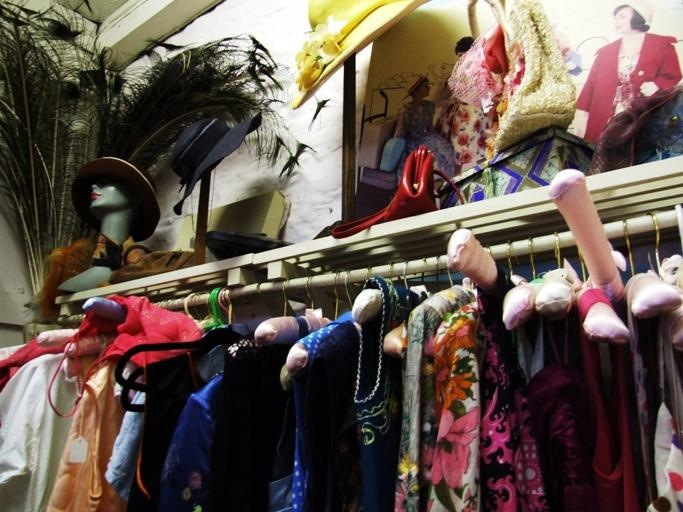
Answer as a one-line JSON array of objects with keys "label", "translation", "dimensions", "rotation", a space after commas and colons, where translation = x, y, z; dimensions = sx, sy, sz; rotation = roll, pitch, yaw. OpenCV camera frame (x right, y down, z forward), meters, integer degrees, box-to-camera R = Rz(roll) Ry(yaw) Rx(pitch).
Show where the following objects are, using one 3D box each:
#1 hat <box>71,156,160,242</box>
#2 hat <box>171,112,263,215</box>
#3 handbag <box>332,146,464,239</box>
[{"label": "hat", "translation": [-0.763, -0.228, 2.019], "dimensions": [0.252, 0.120, 0.331], "rotation": [16, -44, 12]}, {"label": "hat", "translation": [-0.375, -0.270, 1.662], "dimensions": [0.285, 0.296, 0.165], "rotation": [-10, -14, 16]}, {"label": "handbag", "translation": [0.134, -0.109, 1.345], "dimensions": [0.257, 0.165, 0.195], "rotation": [-12, 10, 14]}]
